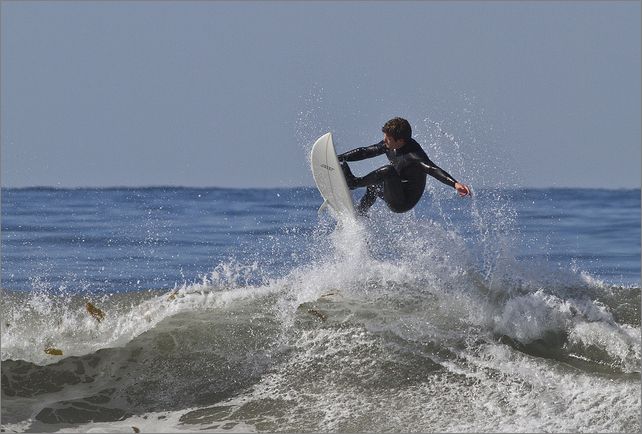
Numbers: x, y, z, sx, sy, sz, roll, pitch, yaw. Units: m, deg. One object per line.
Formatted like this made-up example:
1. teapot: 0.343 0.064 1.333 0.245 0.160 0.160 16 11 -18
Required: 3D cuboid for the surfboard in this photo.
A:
1. surfboard: 0.174 -0.697 21.822 0.589 2.355 0.495 14 56 19
